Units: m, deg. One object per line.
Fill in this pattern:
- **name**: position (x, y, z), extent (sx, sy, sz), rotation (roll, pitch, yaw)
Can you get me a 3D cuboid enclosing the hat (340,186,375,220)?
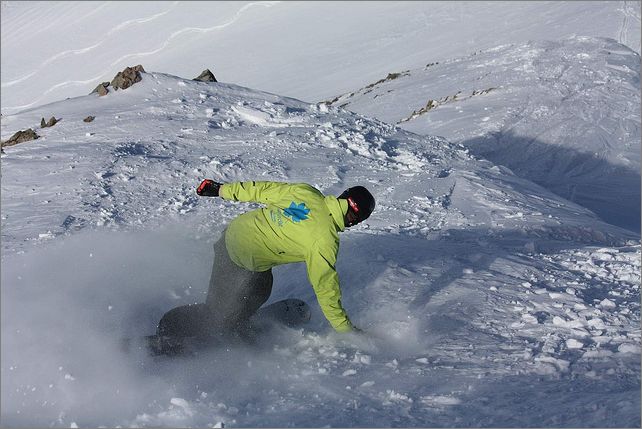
- **hat**: position (0.772, -0.204, 15.388), extent (0.593, 0.636, 0.475), rotation (-24, 39, 0)
